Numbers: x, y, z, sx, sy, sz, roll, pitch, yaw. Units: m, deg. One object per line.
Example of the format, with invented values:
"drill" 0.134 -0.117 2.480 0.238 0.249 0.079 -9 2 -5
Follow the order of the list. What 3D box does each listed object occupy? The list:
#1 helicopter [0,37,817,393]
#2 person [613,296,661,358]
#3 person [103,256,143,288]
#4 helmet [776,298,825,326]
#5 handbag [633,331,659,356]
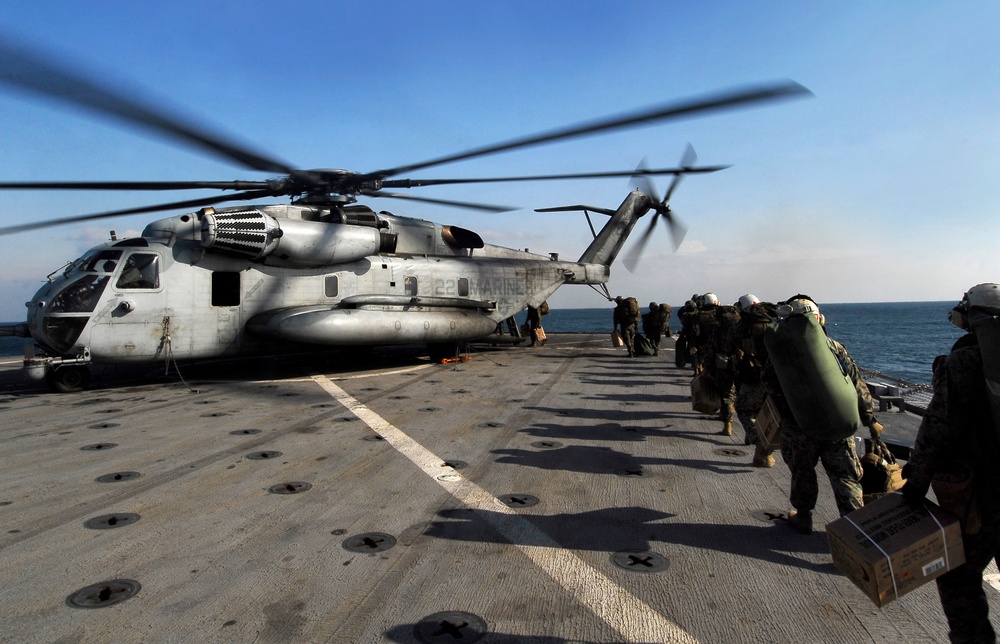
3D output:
"helicopter" -2.606 -1.214 11.316 12.686 4.041 11.783 0 3 -36
"person" 4.553 0.277 15.543 1.490 1.806 1.000 3 -13 -8
"person" -8.148 -1.146 10.401 0.798 0.782 0.297 -6 13 -29
"helmet" 2.741 -0.078 4.242 0.313 0.159 0.397 8 -5 0
"handbag" 5.236 0.832 16.306 1.159 0.845 0.630 -6 2 -13
